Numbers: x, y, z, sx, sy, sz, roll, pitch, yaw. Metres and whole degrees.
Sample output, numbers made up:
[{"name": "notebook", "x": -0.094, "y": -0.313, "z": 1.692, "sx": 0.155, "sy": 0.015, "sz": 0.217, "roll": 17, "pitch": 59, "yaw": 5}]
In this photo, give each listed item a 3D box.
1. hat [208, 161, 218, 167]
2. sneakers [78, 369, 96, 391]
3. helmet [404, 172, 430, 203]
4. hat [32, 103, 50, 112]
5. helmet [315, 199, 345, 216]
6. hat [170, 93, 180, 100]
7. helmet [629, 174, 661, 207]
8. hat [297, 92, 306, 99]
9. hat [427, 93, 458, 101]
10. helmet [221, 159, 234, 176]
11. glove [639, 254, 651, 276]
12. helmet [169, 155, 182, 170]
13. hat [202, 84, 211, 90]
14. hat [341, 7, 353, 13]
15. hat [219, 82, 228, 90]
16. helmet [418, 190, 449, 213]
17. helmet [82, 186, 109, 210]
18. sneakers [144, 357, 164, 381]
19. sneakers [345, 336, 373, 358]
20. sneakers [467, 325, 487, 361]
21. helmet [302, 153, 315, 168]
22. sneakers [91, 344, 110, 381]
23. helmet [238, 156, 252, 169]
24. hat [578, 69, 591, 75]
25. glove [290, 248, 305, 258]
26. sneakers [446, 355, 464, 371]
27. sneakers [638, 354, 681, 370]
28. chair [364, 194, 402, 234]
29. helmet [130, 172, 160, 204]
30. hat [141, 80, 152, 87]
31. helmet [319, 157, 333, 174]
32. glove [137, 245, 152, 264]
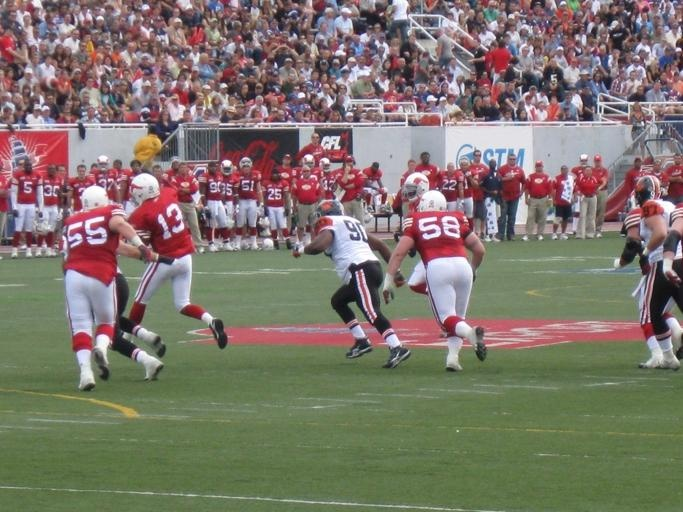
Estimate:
[{"name": "hat", "x": -2.958, "y": -2.122, "z": 29.204, "sx": 0.178, "sy": 0.123, "sz": 0.172, "roll": -1, "pitch": -5, "yaw": 39}, {"name": "sneakers", "x": -2.657, "y": 1.307, "z": 13.378, "sx": 0.113, "sy": 0.134, "sz": 0.317, "roll": 0, "pitch": 4, "yaw": -14}, {"name": "helmet", "x": 0.981, "y": -0.845, "z": 15.421, "sx": 0.381, "sy": 0.333, "sz": 0.306, "roll": 2, "pitch": -1, "yaw": -18}, {"name": "hat", "x": -6.994, "y": -3.458, "z": 29.763, "sx": 0.280, "sy": 0.115, "sz": 0.393, "roll": 1, "pitch": 1, "yaw": -27}, {"name": "helmet", "x": -0.124, "y": -0.555, "z": 15.431, "sx": 0.204, "sy": 0.230, "sz": 0.234, "roll": 13, "pitch": -13, "yaw": -38}, {"name": "hat", "x": -4.042, "y": -3.870, "z": 31.175, "sx": 0.141, "sy": 0.168, "sz": 0.156, "roll": -13, "pitch": 41, "yaw": -23}, {"name": "helmet", "x": 3.576, "y": -0.773, "z": 14.962, "sx": 0.342, "sy": 0.359, "sz": 0.389, "roll": 5, "pitch": -3, "yaw": -42}, {"name": "hat", "x": -1.031, "y": -4.182, "z": 33.274, "sx": 0.228, "sy": 0.193, "sz": 0.207, "roll": -1, "pitch": -11, "yaw": 12}, {"name": "hat", "x": 2.800, "y": -4.443, "z": 35.571, "sx": 0.410, "sy": 0.138, "sz": 0.310, "roll": -3, "pitch": 1, "yaw": 43}, {"name": "helmet", "x": -2.621, "y": -2.033, "z": 29.352, "sx": 0.287, "sy": 0.288, "sz": 0.365, "roll": 1, "pitch": -1, "yaw": -11}, {"name": "glove", "x": 3.479, "y": 0.113, "z": 14.757, "sx": 0.082, "sy": 0.204, "sz": 0.162, "roll": -10, "pitch": -5, "yaw": 19}, {"name": "helmet", "x": -3.607, "y": -2.048, "z": 27.847, "sx": 0.239, "sy": 0.274, "sz": 0.301, "roll": 2, "pitch": -5, "yaw": -10}, {"name": "hat", "x": -3.366, "y": -4.246, "z": 32.009, "sx": 0.218, "sy": 0.096, "sz": 0.286, "roll": 1, "pitch": 2, "yaw": -11}, {"name": "hat", "x": 0.164, "y": -6.991, "z": 36.514, "sx": 0.206, "sy": 0.161, "sz": 0.321, "roll": -29, "pitch": 35, "yaw": -24}, {"name": "hat", "x": -2.942, "y": -4.273, "z": 32.005, "sx": 0.159, "sy": 0.103, "sz": 0.215, "roll": 0, "pitch": -5, "yaw": -36}, {"name": "helmet", "x": 1.112, "y": -0.631, "z": 14.933, "sx": 0.322, "sy": 0.270, "sz": 0.227, "roll": 7, "pitch": 8, "yaw": 28}, {"name": "helmet", "x": -2.719, "y": -0.648, "z": 13.954, "sx": 0.319, "sy": 0.235, "sz": 0.230, "roll": 4, "pitch": 9, "yaw": 22}, {"name": "sneakers", "x": -2.060, "y": 1.248, "z": 14.053, "sx": 0.187, "sy": 0.240, "sz": 0.085, "roll": 32, "pitch": 23, "yaw": 13}, {"name": "sneakers", "x": 0.195, "y": 1.111, "z": 15.291, "sx": 0.413, "sy": 0.192, "sz": 0.158, "roll": -29, "pitch": -9, "yaw": 34}, {"name": "sneakers", "x": 1.557, "y": 0.979, "z": 14.060, "sx": 0.157, "sy": 0.420, "sz": 0.203, "roll": -26, "pitch": 17, "yaw": -33}, {"name": "helmet", "x": -0.713, "y": -2.186, "z": 29.145, "sx": 0.277, "sy": 0.271, "sz": 0.350, "roll": 1, "pitch": -1, "yaw": -21}, {"name": "sneakers", "x": -2.578, "y": 1.142, "z": 13.528, "sx": 0.148, "sy": 0.388, "sz": 0.186, "roll": -2, "pitch": 11, "yaw": 12}, {"name": "helmet", "x": -2.202, "y": -2.176, "z": 29.480, "sx": 0.302, "sy": 0.285, "sz": 0.369, "roll": 0, "pitch": -9, "yaw": -8}, {"name": "hat", "x": 7.198, "y": -5.482, "z": 37.965, "sx": 0.352, "sy": 0.097, "sz": 0.330, "roll": -1, "pitch": -1, "yaw": -7}, {"name": "glove", "x": -0.518, "y": -0.047, "z": 15.338, "sx": 0.118, "sy": 0.084, "sz": 0.342, "roll": 3, "pitch": -6, "yaw": -15}, {"name": "sneakers", "x": 1.283, "y": 1.223, "z": 14.638, "sx": 0.132, "sy": 0.203, "sz": 0.226, "roll": 7, "pitch": 4, "yaw": 44}, {"name": "sneakers", "x": 3.610, "y": 1.219, "z": 14.524, "sx": 0.488, "sy": 0.181, "sz": 0.170, "roll": 1, "pitch": -14, "yaw": 12}, {"name": "chair", "x": 1.097, "y": -1.112, "z": 32.937, "sx": 1.142, "sy": 1.262, "sz": 1.154, "roll": 1, "pitch": -2, "yaw": -1}, {"name": "helmet", "x": -2.384, "y": -0.817, "z": 15.578, "sx": 0.349, "sy": 0.378, "sz": 0.302, "roll": -2, "pitch": 2, "yaw": -10}, {"name": "hat", "x": -4.693, "y": -4.186, "z": 30.926, "sx": 0.202, "sy": 0.177, "sz": 0.277, "roll": -3, "pitch": 2, "yaw": -21}, {"name": "helmet", "x": -0.257, "y": -2.102, "z": 29.379, "sx": 0.330, "sy": 0.375, "sz": 0.396, "roll": 0, "pitch": -2, "yaw": -10}, {"name": "glove", "x": -2.111, "y": -0.028, "z": 13.713, "sx": 0.141, "sy": 0.095, "sz": 0.174, "roll": 1, "pitch": -24, "yaw": 0}]
